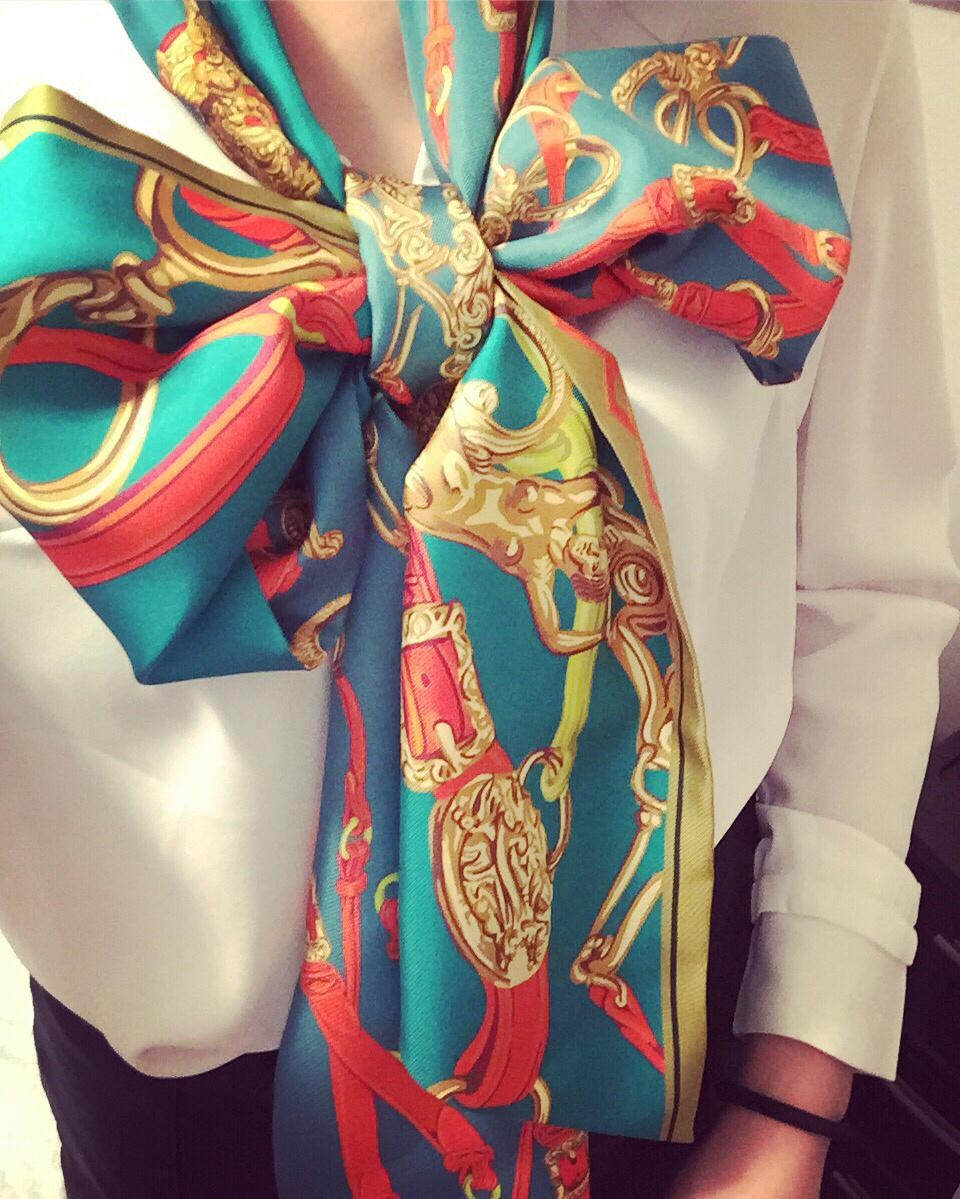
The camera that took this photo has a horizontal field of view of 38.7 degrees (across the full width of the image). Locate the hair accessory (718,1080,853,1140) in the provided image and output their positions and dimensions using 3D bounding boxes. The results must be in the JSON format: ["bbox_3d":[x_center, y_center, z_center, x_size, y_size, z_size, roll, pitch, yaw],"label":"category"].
[{"bbox_3d":[0.170,0.291,0.774,0.087,0.021,0.014,11,9,29],"label":"hair accessory"}]
